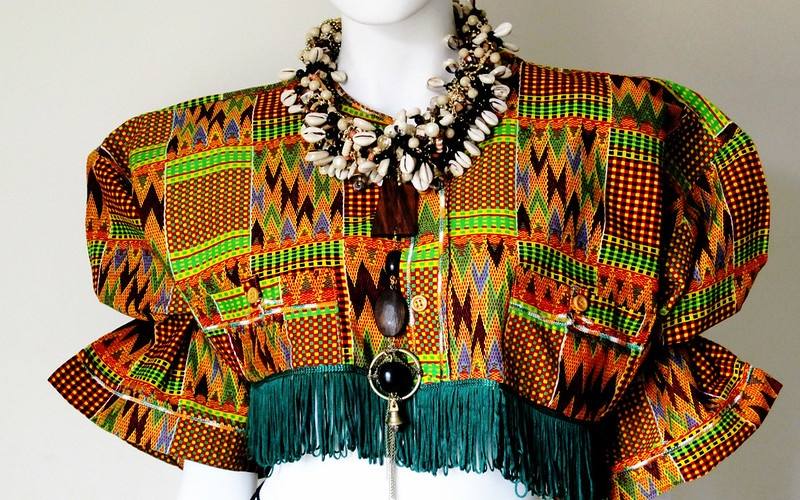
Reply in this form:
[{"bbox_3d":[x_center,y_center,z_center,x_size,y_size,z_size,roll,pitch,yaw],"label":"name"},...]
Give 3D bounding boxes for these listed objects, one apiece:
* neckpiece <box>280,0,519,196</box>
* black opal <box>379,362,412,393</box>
[{"bbox_3d":[-0.014,-0.302,3.321,0.446,0.088,0.460,19,-96,23],"label":"neckpiece"},{"bbox_3d":[-0.007,0.293,3.218,0.084,0.042,0.061,10,-58,-2],"label":"black opal"}]
